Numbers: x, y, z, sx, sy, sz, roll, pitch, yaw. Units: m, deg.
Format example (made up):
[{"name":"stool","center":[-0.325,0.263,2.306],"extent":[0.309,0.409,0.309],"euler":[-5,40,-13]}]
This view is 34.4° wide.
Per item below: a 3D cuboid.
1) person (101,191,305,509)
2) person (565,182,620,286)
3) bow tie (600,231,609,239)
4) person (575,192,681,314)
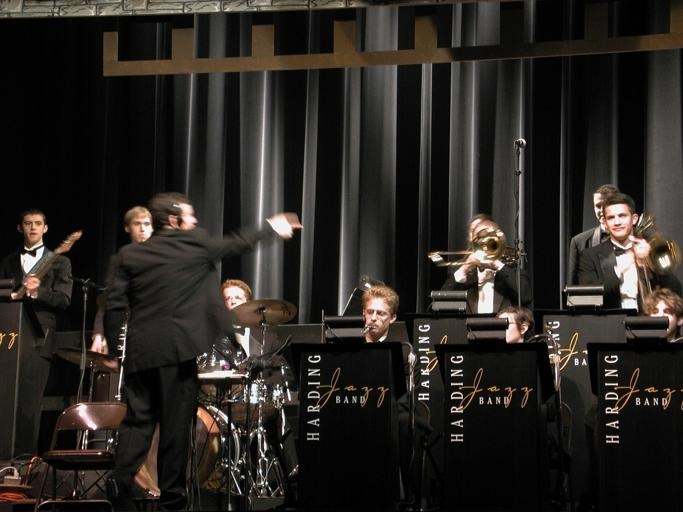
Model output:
[{"name":"person","center":[-1.320,0.682,9.393],"extent":[1.198,2.705,0.962],"euler":[0,-2,15]},{"name":"person","center":[2.609,-0.210,11.755],"extent":[0.487,1.327,0.509],"euler":[0,1,-18]},{"name":"bow tie","center":[2.780,-0.217,11.740],"extent":[0.063,0.057,0.109],"euler":[17,-3,19]},{"name":"person","center":[2.752,-0.022,11.077],"extent":[0.897,1.226,0.661],"euler":[0,1,20]}]
